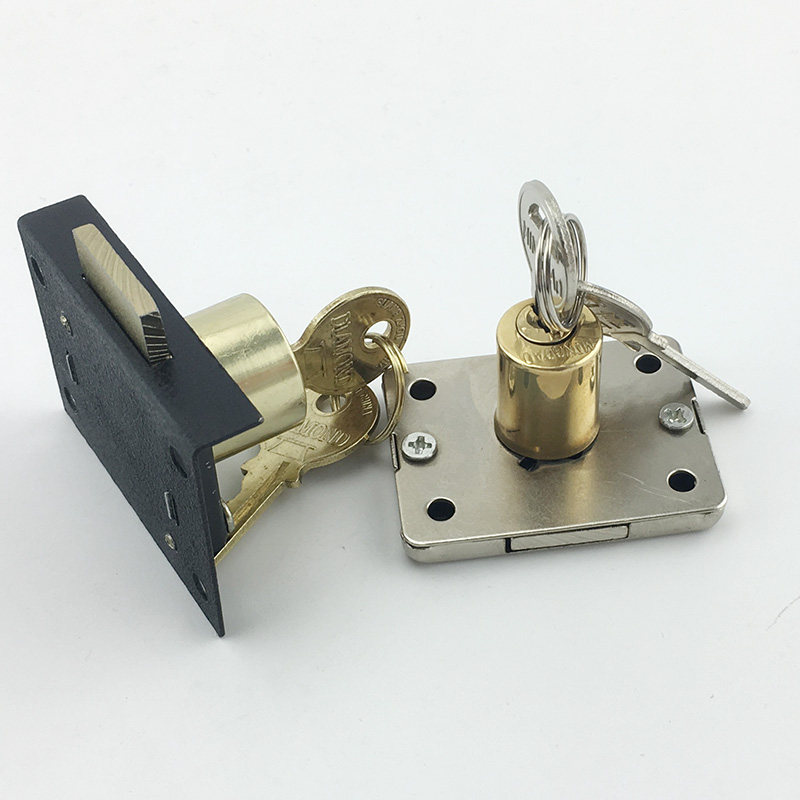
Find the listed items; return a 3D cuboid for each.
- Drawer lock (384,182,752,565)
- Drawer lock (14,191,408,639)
[{"bbox_3d":[0.233,-0.075,1.363,0.535,0.498,0.413,-9,44,0],"label":"Drawer lock"},{"bbox_3d":[-0.206,-0.051,1.328,0.426,0.476,0.483,-22,50,-19],"label":"Drawer lock"}]
